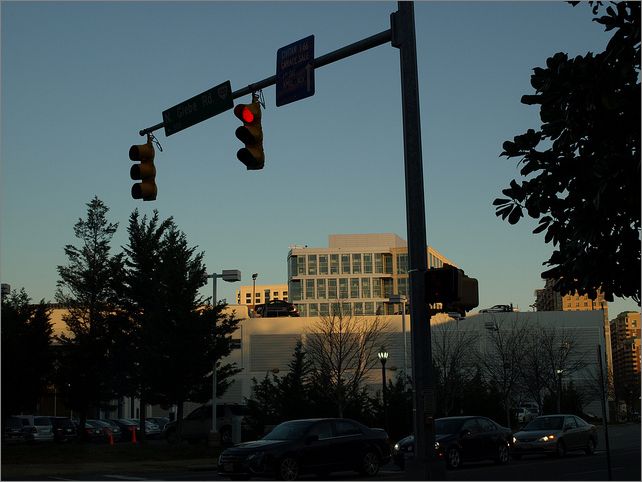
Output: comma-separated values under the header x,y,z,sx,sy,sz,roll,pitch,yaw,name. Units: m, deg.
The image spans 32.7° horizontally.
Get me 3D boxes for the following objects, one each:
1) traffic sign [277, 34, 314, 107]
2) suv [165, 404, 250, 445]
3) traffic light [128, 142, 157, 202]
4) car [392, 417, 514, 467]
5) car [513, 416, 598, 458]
x,y,z,sx,sy,sz,roll,pitch,yaw,name
-0.752,-4.861,31.300,1.386,1.889,0.123,-15,-25,36,traffic sign
-5.483,8.970,54.913,4.444,2.276,1.897,-6,-13,26,suv
-4.758,-1.777,29.217,0.806,2.623,0.714,2,-9,-17,traffic light
5.238,7.943,42.759,2.442,2.211,5.726,-15,-16,43,car
10.024,8.396,47.109,2.154,1.806,5.254,-10,-13,37,car
